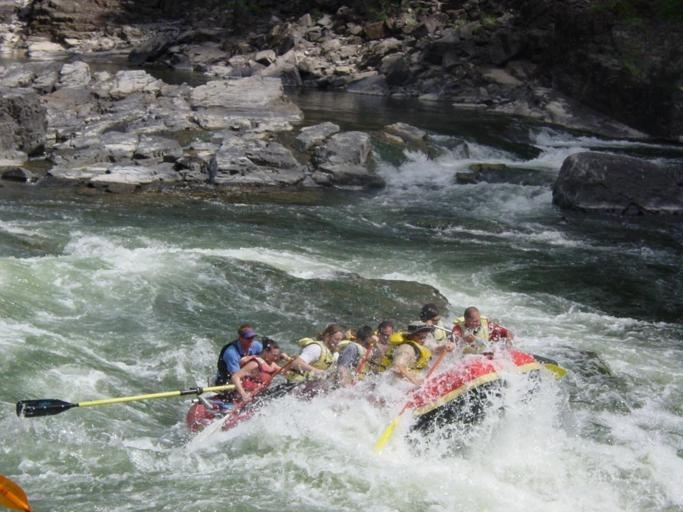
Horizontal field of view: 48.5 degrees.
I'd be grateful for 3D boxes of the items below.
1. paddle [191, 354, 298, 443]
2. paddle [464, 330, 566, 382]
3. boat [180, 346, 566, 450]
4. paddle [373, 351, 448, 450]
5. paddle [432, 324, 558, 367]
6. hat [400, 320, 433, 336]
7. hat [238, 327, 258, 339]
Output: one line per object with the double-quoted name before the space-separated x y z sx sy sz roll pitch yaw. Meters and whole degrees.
"paddle" -1.904 2.755 14.545 2.332 0.382 1.055 -21 36 1
"paddle" 3.053 1.891 14.346 1.111 0.237 1.077 20 23 33
"boat" 0.486 2.679 14.475 5.014 0.812 2.542 -13 2 1
"paddle" 1.289 2.758 14.166 3.230 0.228 0.157 -37 31 -31
"paddle" 3.026 1.678 14.958 1.912 0.531 1.091 22 33 28
"hat" 1.405 1.384 14.497 0.409 0.099 0.364 -13 -9 43
"hat" -1.827 1.485 14.606 0.355 0.099 0.213 14 37 24
